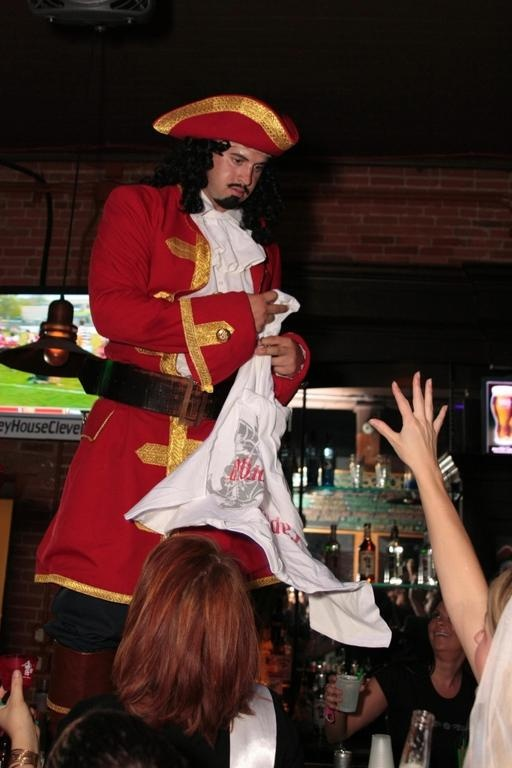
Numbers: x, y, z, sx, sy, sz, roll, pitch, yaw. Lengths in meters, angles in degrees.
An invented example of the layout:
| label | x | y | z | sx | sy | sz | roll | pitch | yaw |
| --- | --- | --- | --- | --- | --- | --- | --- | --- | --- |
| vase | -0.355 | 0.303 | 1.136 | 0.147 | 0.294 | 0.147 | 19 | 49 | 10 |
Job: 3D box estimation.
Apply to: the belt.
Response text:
| label | x | y | z | sx | sy | sz | roll | pitch | yaw |
| --- | --- | --- | --- | --- | --- | --- | --- | --- | --- |
| belt | -0.196 | -0.004 | 1.401 | 0.164 | 0.049 | 0.155 | 7 | -12 | 37 |

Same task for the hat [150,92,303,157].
| label | x | y | z | sx | sy | sz | roll | pitch | yaw |
| --- | --- | --- | --- | --- | --- | --- | --- | --- | --- |
| hat | -0.059 | -0.533 | 1.555 | 0.209 | 0.072 | 0.189 | -1 | -10 | -44 |

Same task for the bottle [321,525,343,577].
| label | x | y | z | sx | sy | sz | roll | pitch | yaw |
| --- | --- | --- | --- | --- | --- | --- | --- | --- | --- |
| bottle | 0.452 | 0.999 | 4.125 | 0.099 | 0.316 | 0.083 | 8 | -6 | -33 |

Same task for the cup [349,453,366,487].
| label | x | y | z | sx | sy | sz | roll | pitch | yaw |
| --- | --- | --- | --- | --- | --- | --- | --- | --- | --- |
| cup | 0.611 | 0.533 | 4.216 | 0.078 | 0.181 | 0.128 | 5 | -5 | -5 |

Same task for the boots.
| label | x | y | z | sx | sy | sz | roll | pitch | yaw |
| --- | --- | --- | --- | --- | --- | --- | --- | --- | --- |
| boots | -0.336 | 0.568 | 1.302 | 0.098 | 0.119 | 0.072 | 4 | -18 | -5 |
